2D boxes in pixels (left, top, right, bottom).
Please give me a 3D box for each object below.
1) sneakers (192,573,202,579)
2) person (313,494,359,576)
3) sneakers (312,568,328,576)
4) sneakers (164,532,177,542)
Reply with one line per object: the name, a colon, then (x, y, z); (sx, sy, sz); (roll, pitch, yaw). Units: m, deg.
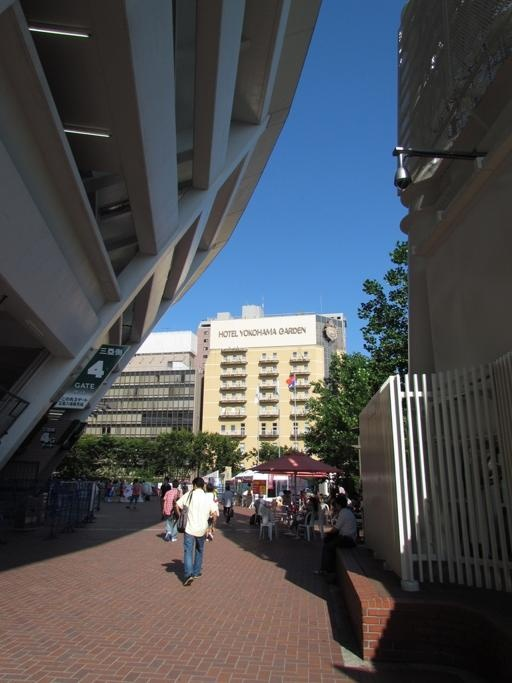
sneakers: (-0.972, 3.941, 7.298); (0.079, 0.123, 0.272); (-1, -29, 6)
person: (1.568, 3.683, 8.303); (0.698, 1.459, 0.662); (16, -21, -26)
sneakers: (1.177, 4.298, 8.121); (0.299, 0.113, 0.280); (-4, -25, 29)
sneakers: (-2.458, 5.708, 12.692); (0.166, 0.246, 0.514); (-1, -7, 14)
